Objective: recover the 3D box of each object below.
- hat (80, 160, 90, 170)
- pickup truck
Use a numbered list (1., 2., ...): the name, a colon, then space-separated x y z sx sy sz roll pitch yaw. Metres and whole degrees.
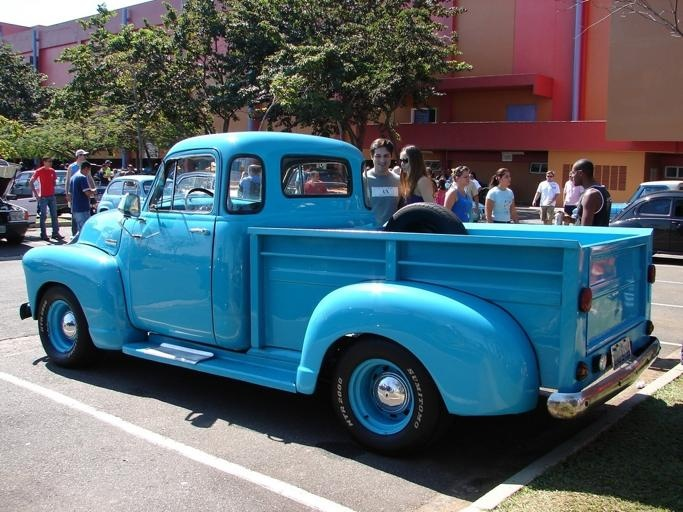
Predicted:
1. hat: -6.654 -2.345 13.181 0.186 0.234 0.227 -5 12 -28
2. pickup truck: -0.481 0.039 5.463 6.784 2.671 2.491 6 11 31
